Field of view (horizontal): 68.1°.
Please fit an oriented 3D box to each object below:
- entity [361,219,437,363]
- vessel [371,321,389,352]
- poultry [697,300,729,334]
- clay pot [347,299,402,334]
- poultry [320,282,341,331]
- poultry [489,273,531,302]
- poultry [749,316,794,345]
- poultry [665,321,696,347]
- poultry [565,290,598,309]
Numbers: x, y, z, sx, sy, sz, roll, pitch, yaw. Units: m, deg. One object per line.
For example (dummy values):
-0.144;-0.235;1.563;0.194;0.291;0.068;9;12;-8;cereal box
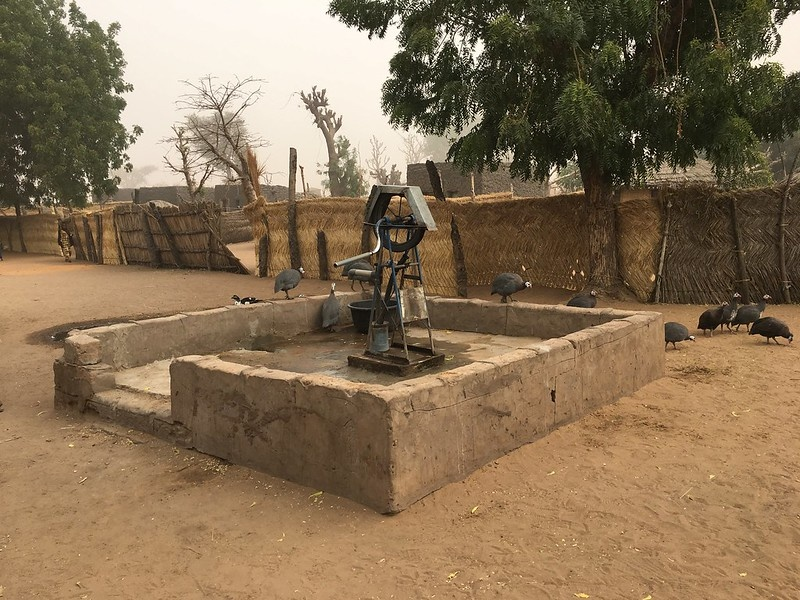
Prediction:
0.020;0.099;7.191;0.749;2.203;0.735;9;9;35;entity
-0.236;0.441;7.065;0.305;0.441;0.294;-1;-1;-1;vessel
4.630;0.295;8.788;0.383;0.446;0.548;8;15;44;poultry
-0.484;0.217;8.912;0.544;0.375;0.546;1;4;0;clay pot
-1.089;0.084;9.202;0.314;0.724;0.605;-4;11;-7;poultry
1.938;-0.216;10.185;0.806;0.579;0.441;7;10;9;poultry
5.132;0.422;8.167;0.499;0.388;0.499;-6;11;-18;poultry
3.845;0.493;8.196;0.325;0.399;0.651;4;12;30;poultry
2.721;0.017;8.886;0.382;0.211;0.802;1;11;15;poultry
